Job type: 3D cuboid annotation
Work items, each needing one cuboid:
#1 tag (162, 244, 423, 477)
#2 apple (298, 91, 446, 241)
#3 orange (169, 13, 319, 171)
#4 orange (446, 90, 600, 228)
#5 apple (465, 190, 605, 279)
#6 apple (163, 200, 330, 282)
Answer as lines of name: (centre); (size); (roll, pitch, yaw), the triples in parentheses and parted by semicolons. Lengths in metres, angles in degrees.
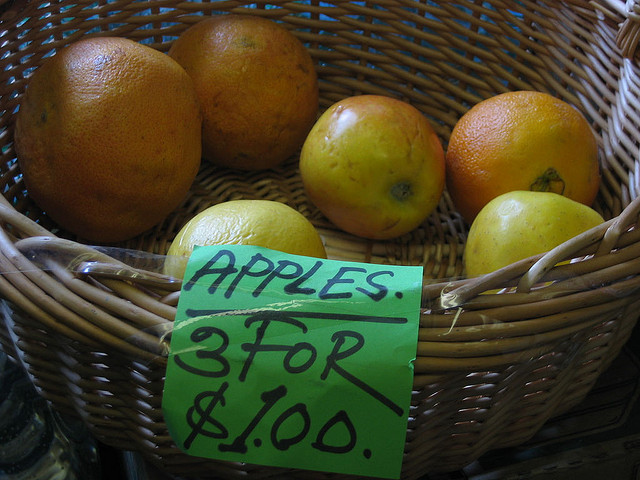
tag: (-0.027, 0.118, 0.703); (0.242, 0.141, 0.209); (6, 51, -1)
apple: (0.090, -0.094, 0.958); (0.181, 0.138, 0.152); (6, 31, -38)
orange: (-0.091, -0.214, 1.090); (0.259, 0.247, 0.199); (4, 77, -34)
orange: (0.268, -0.122, 0.982); (0.225, 0.176, 0.175); (-19, 41, -12)
apple: (0.288, -0.004, 0.913); (0.158, 0.138, 0.116); (7, 86, -26)
apple: (-0.089, 0.015, 0.902); (0.185, 0.209, 0.135); (-2, 91, 16)
